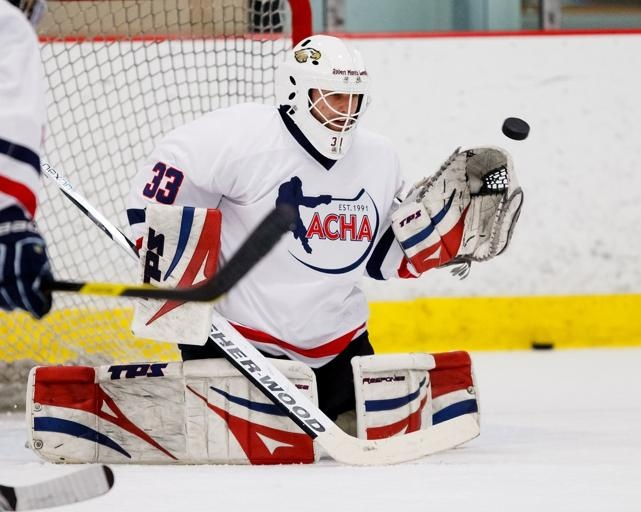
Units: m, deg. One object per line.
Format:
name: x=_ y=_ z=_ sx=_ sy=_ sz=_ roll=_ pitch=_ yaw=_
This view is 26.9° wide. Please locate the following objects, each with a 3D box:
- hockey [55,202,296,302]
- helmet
hockey: x=-0.392 y=-0.002 z=3.530 sx=0.649 sy=0.267 sz=0.166 roll=3 pitch=25 yaw=12
helmet: x=0.008 y=-0.547 z=4.511 sx=0.246 sy=0.377 sz=0.305 roll=-21 pitch=30 yaw=-35
